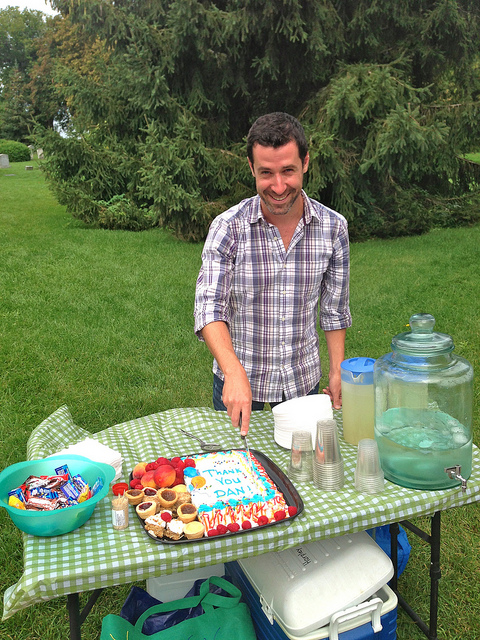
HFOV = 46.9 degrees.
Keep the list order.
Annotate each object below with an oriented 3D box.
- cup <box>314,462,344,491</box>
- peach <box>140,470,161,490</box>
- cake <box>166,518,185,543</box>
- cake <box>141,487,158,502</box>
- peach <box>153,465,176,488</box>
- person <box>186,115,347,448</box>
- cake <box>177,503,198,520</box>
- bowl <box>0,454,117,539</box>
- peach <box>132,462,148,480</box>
[{"bbox_3d":[0.286,0.492,1.793,0.086,0.086,0.090,-3,0,0],"label":"cup"},{"bbox_3d":[-0.276,0.494,1.732,0.043,0.054,0.046,24,-23,10],"label":"peach"},{"bbox_3d":[-0.176,0.571,1.514,0.047,0.032,0.072,1,11,3],"label":"cake"},{"bbox_3d":[-0.269,0.519,1.634,0.046,0.026,0.059,-2,11,-12],"label":"cake"},{"bbox_3d":[-0.230,0.476,1.690,0.047,0.051,0.064,-13,-5,43],"label":"peach"},{"bbox_3d":[0.133,-0.164,2.392,0.664,1.334,1.082,2,10,11],"label":"person"},{"bbox_3d":[-0.149,0.543,1.568,0.056,0.026,0.057,-2,11,-10],"label":"cake"},{"bbox_3d":[-0.514,0.487,1.574,0.235,0.102,0.262,8,10,12],"label":"bowl"},{"bbox_3d":[-0.321,0.486,1.771,0.035,0.039,0.049,-2,-8,-3],"label":"peach"}]
